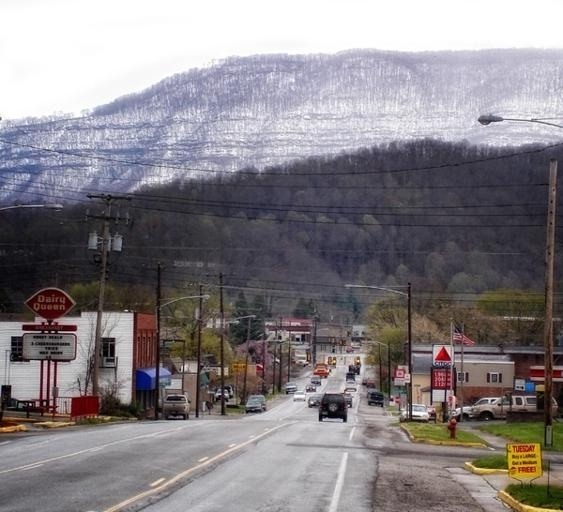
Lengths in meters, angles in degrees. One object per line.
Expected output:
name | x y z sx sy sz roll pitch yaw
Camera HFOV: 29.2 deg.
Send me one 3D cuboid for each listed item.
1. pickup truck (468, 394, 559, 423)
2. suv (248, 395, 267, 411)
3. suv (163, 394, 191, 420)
pickup truck | 17.857 12.174 86.708 5.841 2.773 3.718 -1 -6 18
suv | -2.626 15.432 112.909 1.306 1.375 3.302 -1 -8 3
suv | -8.709 12.379 88.462 2.047 1.830 1.145 1 -9 -16
